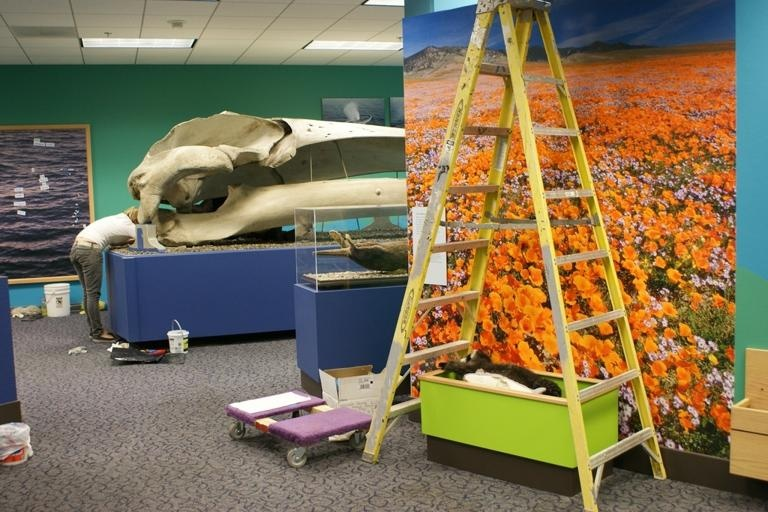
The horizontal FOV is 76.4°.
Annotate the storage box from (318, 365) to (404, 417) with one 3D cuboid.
[{"bbox_3d":[-0.217,1.046,3.867,0.463,0.182,0.373,-5,9,-23],"label":"storage box"}]

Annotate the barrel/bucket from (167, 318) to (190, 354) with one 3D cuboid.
[{"bbox_3d":[-2.421,0.948,5.764,0.226,0.365,0.391,-6,8,-20],"label":"barrel/bucket"}]

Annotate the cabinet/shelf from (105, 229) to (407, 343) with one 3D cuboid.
[{"bbox_3d":[-1.449,0.341,5.342,2.246,0.640,1.037,-1,1,-23],"label":"cabinet/shelf"}]
